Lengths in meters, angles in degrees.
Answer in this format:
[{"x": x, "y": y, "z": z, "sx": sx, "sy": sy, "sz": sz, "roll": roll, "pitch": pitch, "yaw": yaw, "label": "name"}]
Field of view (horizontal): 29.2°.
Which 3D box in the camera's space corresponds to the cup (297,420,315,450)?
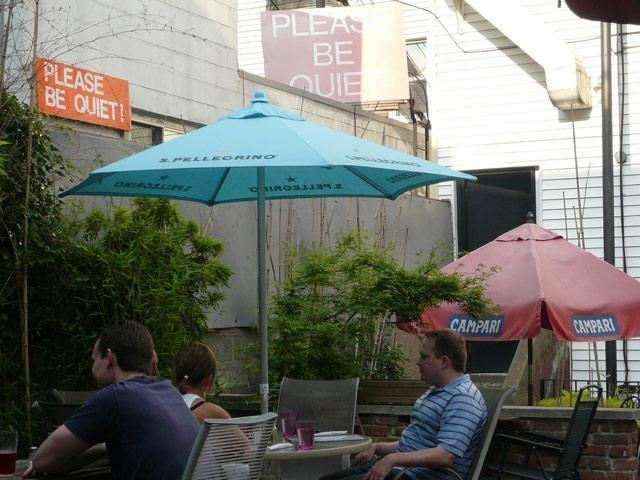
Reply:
[{"x": -0.122, "y": 1.597, "z": 10.052, "sx": 0.133, "sy": 0.225, "sz": 0.145, "roll": 0, "pitch": -8, "yaw": 0, "label": "cup"}]
